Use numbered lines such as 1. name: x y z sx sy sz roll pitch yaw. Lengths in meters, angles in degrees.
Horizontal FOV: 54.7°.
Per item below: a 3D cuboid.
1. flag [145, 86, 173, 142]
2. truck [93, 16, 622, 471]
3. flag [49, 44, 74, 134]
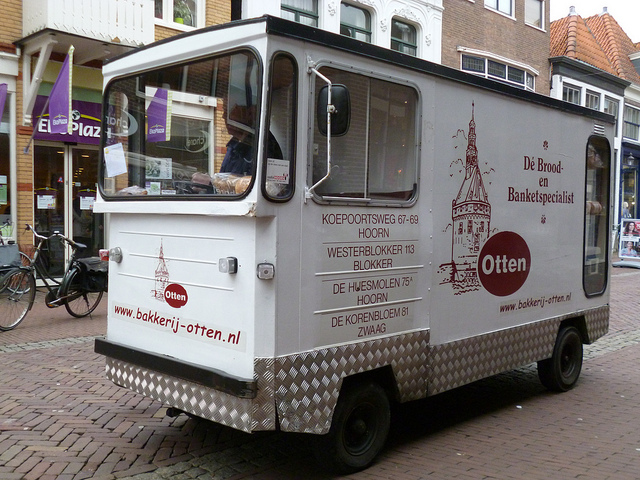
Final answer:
1. flag: -1.480 -1.127 5.596 0.009 0.503 0.358 9 13 21
2. truck: 0.898 -0.003 7.620 5.971 3.676 3.327 0 3 -39
3. flag: -4.806 -2.753 11.433 0.703 1.489 0.303 6 7 38
